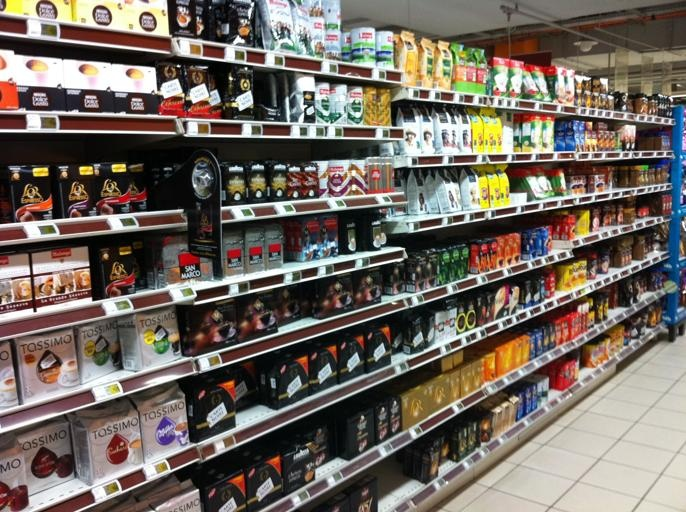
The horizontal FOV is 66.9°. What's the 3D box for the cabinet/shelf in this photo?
[{"bbox_3d":[0.639,-0.048,4.033,0.887,2.637,5.789,6,12,42],"label":"cabinet/shelf"}]
